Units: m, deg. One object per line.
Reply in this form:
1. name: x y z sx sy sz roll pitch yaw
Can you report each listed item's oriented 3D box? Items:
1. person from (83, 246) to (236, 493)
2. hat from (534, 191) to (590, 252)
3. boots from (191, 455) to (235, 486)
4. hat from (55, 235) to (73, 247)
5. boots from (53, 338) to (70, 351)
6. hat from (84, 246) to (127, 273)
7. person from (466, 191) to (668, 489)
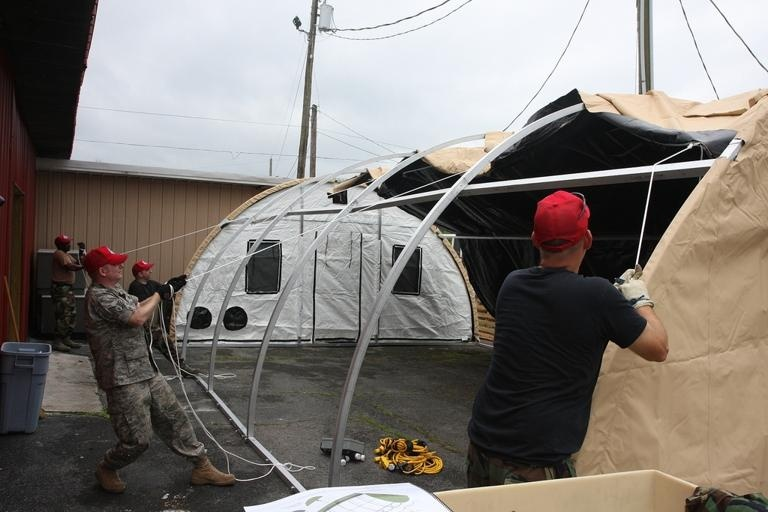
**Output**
1. person: -2.138 1.023 5.000 1.150 2.153 0.408 3 3 -13
2. hat: 1.031 -0.205 3.192 0.280 0.194 0.373 6 46 31
3. boots: -1.573 2.017 5.298 0.524 0.308 0.194 1 -3 -8
4. hat: -6.175 -0.285 10.718 0.267 0.175 0.368 9 13 44
5. boots: -5.840 1.600 10.117 0.270 0.216 0.369 2 3 -19
6. hat: -2.549 0.067 5.033 0.386 0.180 0.234 -21 14 -8
7. person: 0.988 0.502 3.099 0.950 1.733 0.288 4 3 9
